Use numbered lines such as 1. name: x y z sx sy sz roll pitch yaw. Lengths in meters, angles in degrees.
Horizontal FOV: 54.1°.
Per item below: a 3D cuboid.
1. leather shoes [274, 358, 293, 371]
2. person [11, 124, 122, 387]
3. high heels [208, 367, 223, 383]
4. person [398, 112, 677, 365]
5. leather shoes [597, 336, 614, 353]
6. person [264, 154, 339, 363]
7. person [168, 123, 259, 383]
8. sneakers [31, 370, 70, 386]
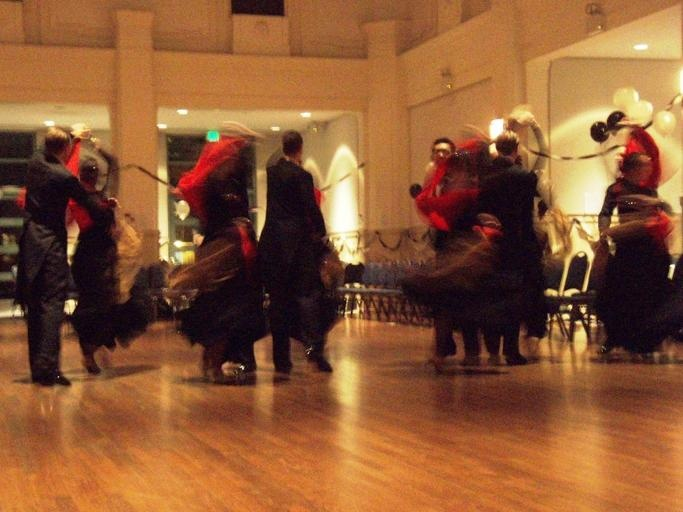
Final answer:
1. leather shoes: -0.427 0.781 4.863 0.120 0.108 0.107 3 -16 -11
2. person: -1.906 -0.007 4.514 0.558 1.734 0.321 0 0 -18
3. high heels: -0.831 0.785 4.436 0.101 0.101 0.099 -2 -2 -16
4. person: 0.976 -0.059 4.762 1.063 1.685 0.400 0 0 -1
5. leather shoes: 2.021 0.677 5.091 0.078 0.122 0.132 3 4 26
6. person: -0.307 0.013 4.733 0.532 1.431 0.244 0 0 -1
7. person: -0.833 0.008 4.505 0.616 1.648 0.398 0 0 -15
8. sneakers: -1.908 0.805 4.415 0.183 0.064 0.129 6 -2 -8
